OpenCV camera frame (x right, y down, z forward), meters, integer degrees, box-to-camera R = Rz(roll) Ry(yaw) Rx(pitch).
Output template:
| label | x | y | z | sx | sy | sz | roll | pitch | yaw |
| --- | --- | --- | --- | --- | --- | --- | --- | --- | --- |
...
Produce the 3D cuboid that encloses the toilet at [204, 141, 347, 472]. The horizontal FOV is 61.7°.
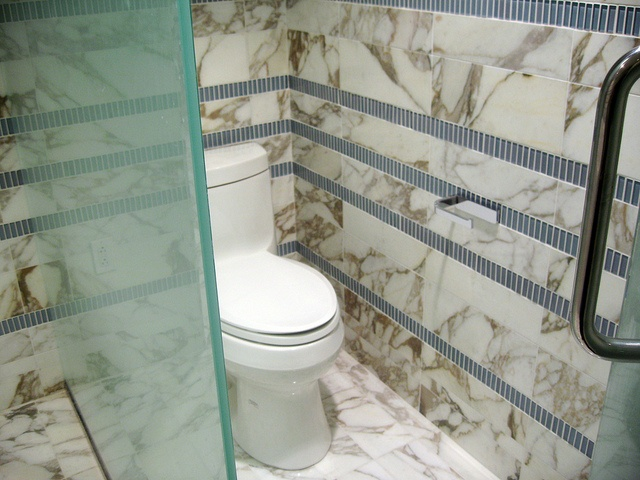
| label | x | y | z | sx | sy | sz | roll | pitch | yaw |
| --- | --- | --- | --- | --- | --- | --- | --- | --- | --- |
| toilet | -0.184 | 0.207 | 2.019 | 0.439 | 0.969 | 0.605 | -3 | 1 | -13 |
